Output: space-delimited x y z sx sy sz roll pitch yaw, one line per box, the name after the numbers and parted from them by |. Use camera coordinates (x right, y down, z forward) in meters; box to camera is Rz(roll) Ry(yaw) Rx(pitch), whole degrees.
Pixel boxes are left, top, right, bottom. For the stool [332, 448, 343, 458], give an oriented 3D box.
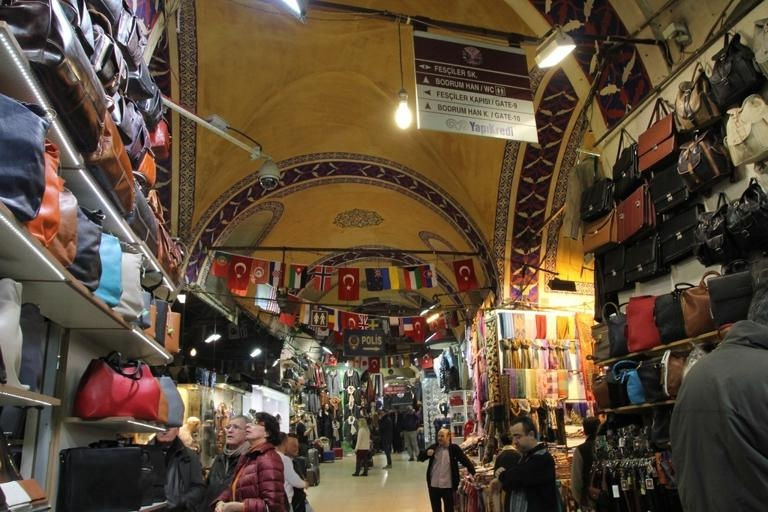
-1.893 8.035 22.873 0.263 0.450 0.650 -4 -23 5 | stool

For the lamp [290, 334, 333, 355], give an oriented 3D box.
-3.035 3.546 22.252 1.076 0.394 1.064 11 -48 -1 | lamp

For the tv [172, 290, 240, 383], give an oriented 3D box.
-3.818 2.013 12.960 0.828 2.217 2.293 -3 17 -12 | tv

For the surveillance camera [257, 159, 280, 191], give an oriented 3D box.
-1.630 -1.263 7.954 0.233 0.549 0.539 2 -23 -9 | surveillance camera

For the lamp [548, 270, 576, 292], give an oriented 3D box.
3.487 0.562 11.104 0.417 0.134 0.494 8 11 25 | lamp

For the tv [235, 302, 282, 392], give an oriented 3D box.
-3.264 2.342 14.231 0.521 1.863 1.809 -8 -6 19 | tv

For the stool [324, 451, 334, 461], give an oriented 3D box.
-1.982 7.141 20.016 0.306 0.241 0.317 -1 -7 -3 | stool
